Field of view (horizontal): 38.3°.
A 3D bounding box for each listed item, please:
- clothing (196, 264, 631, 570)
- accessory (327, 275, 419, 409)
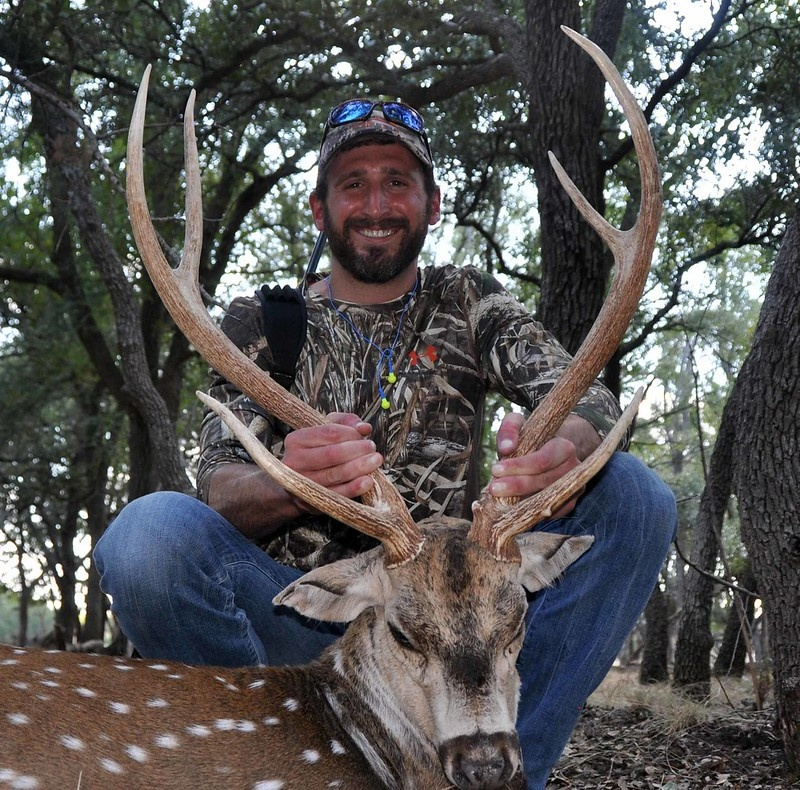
[{"bbox_3d":[-0.054,0.174,6.109,1.831,2.102,1.404,-5,-24,-7],"label":"clothing"},{"bbox_3d":[-0.133,-0.237,5.839,0.544,1.132,0.131,-4,-32,4],"label":"accessory"}]
